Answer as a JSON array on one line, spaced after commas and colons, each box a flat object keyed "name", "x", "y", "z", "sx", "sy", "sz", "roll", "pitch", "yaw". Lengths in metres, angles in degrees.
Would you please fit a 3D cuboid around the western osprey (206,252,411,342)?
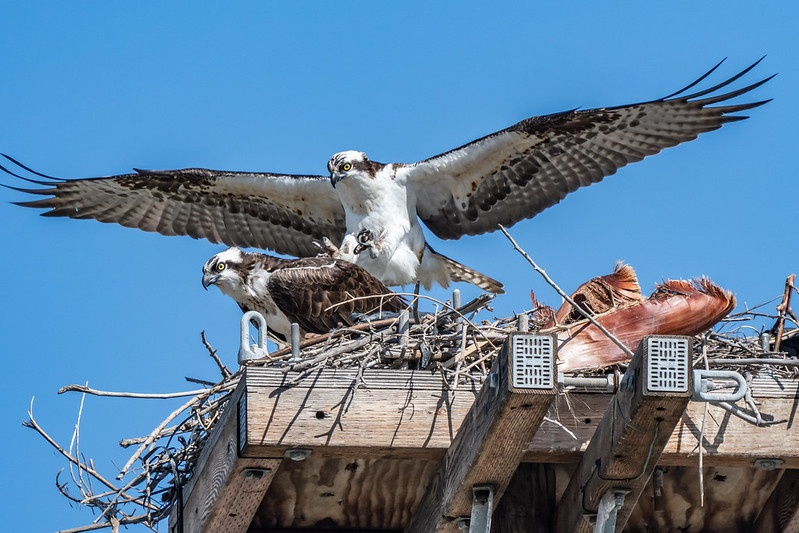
[{"name": "western osprey", "x": -0.660, "y": 0.156, "z": 14.958, "sx": 1.898, "sy": 0.806, "sz": 0.768, "roll": -10, "pitch": -83, "yaw": -36}]
